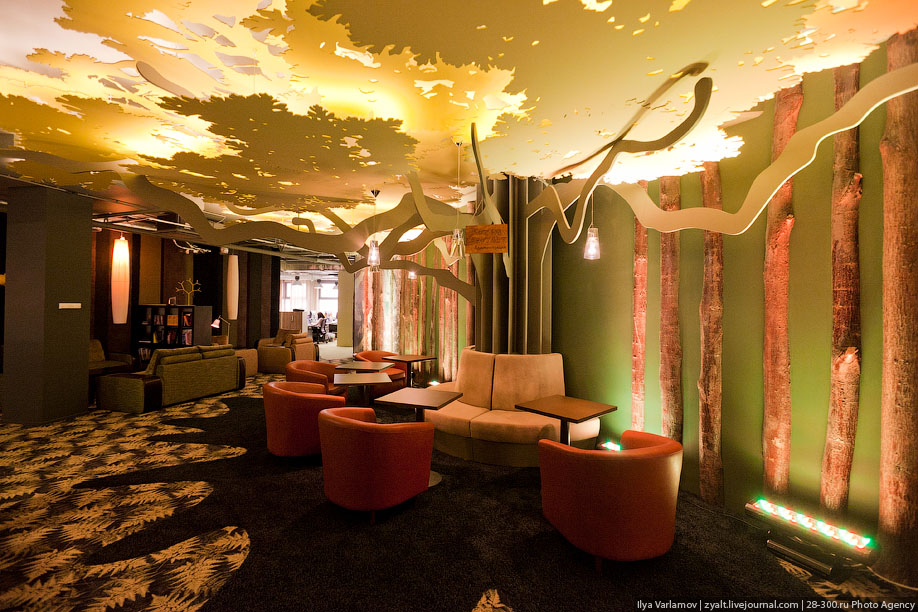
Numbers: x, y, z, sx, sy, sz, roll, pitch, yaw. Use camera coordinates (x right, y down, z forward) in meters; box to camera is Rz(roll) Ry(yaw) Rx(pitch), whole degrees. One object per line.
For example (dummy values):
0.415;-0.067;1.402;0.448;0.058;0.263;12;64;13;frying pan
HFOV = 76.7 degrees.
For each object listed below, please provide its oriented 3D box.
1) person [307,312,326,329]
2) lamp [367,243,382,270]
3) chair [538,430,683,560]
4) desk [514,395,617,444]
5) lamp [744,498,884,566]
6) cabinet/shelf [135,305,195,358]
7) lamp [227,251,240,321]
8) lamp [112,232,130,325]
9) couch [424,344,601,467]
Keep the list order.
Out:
-5.357;0.514;21.999;0.730;0.791;0.923;1;5;-10;person
-0.996;-0.603;6.854;0.138;0.270;0.337;-3;1;-9;lamp
1.432;1.699;5.471;1.262;0.901;1.148;1;-1;-27;chair
1.173;1.146;6.416;0.736;0.630;0.713;3;-2;-38;desk
3.343;2.138;5.570;1.009;0.376;0.326;-1;2;41;lamp
-5.315;0.462;10.659;1.151;0.973;0.334;0;0;27;cabinet/shelf
-4.970;-0.432;12.840;0.258;1.060;0.672;-3;2;-27;lamp
-5.848;-0.463;10.120;0.274;1.303;0.455;-4;2;-33;lamp
0.873;1.261;7.647;2.408;1.221;1.269;1;0;36;couch
